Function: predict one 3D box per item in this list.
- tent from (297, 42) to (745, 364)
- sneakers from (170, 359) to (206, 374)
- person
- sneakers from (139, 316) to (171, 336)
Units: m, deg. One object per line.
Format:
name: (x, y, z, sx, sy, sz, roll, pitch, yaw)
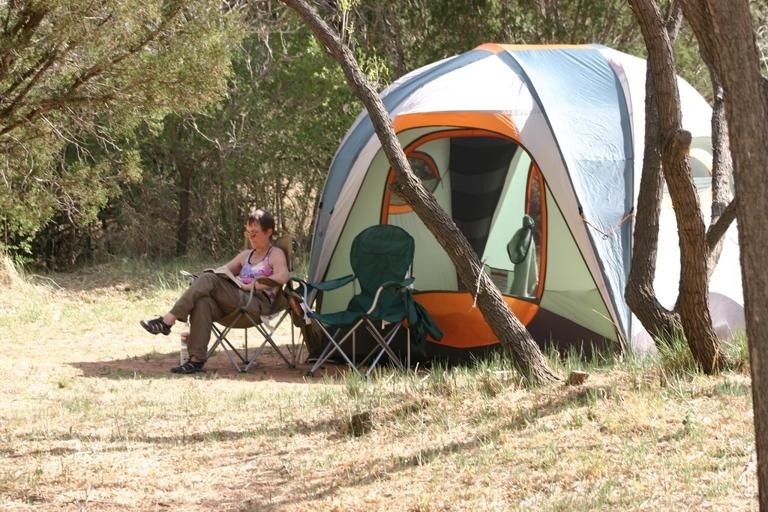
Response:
tent: (1.979, -0.665, 10.308, 3.596, 2.664, 3.711, -2, -3, 38)
sneakers: (-2.090, 1.201, 9.539, 0.317, 0.159, 0.154, 4, -1, -11)
person: (-1.845, 0.333, 9.684, 1.478, 1.964, 0.765, 15, -14, -36)
sneakers: (-2.440, 0.747, 9.471, 0.354, 0.191, 0.169, 13, 27, -39)
